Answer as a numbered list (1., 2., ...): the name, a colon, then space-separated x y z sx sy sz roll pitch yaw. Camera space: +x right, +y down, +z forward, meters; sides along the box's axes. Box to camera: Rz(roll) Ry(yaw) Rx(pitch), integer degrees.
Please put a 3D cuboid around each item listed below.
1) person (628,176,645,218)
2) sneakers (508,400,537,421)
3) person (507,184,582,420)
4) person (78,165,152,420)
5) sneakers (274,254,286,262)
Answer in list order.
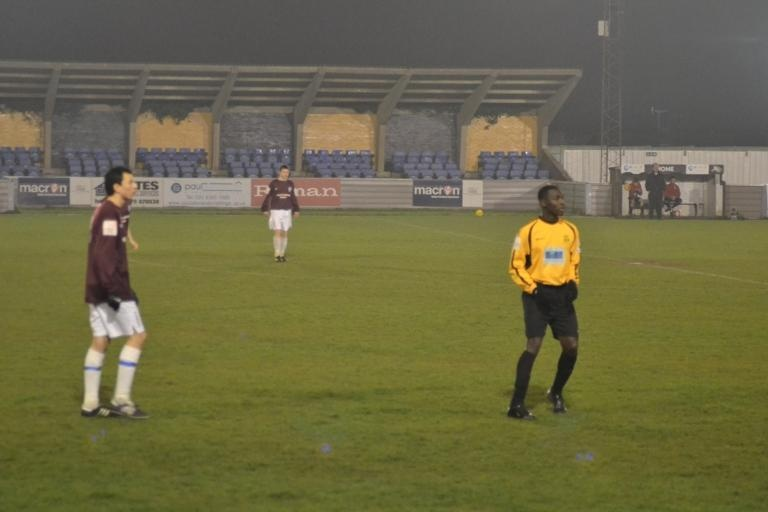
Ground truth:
1. person: 10.885 -2.568 54.453 0.781 1.592 0.563 -4 0 2
2. sneakers: 2.144 2.405 19.551 0.223 0.159 0.394 -2 0 -39
3. person: 2.490 0.696 19.646 1.060 3.543 0.957 0 11 5
4. person: -4.252 0.556 19.560 0.988 3.798 0.874 -2 11 -5
5. sneakers: -2.527 0.061 30.594 0.259 0.090 0.129 -1 2 24
